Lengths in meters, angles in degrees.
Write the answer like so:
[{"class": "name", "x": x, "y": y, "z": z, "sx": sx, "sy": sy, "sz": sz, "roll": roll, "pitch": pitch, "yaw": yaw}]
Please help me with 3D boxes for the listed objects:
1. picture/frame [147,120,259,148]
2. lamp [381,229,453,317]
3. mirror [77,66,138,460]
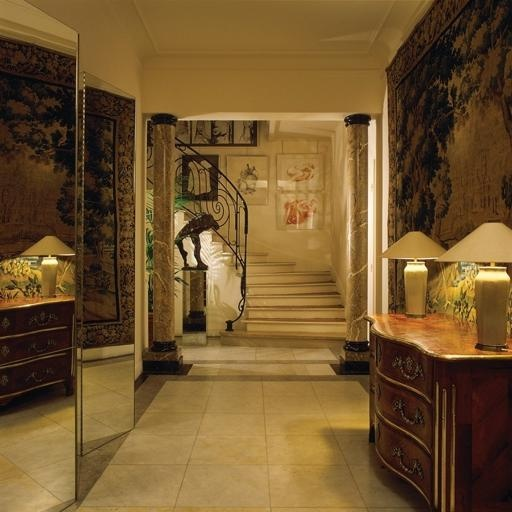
[{"class": "picture/frame", "x": -0.799, "y": -2.449, "z": 8.458, "sx": 1.699, "sy": 0.632, "sz": 0.453, "roll": 0, "pitch": 0, "yaw": 6}, {"class": "lamp", "x": 1.121, "y": 0.124, "z": 2.991, "sx": 0.494, "sy": 0.583, "sz": 0.489, "roll": -1, "pitch": -3, "yaw": 33}, {"class": "mirror", "x": -1.048, "y": 0.047, "z": 3.039, "sx": 0.182, "sy": 2.561, "sz": 0.648, "roll": 0, "pitch": 0, "yaw": 10}]
